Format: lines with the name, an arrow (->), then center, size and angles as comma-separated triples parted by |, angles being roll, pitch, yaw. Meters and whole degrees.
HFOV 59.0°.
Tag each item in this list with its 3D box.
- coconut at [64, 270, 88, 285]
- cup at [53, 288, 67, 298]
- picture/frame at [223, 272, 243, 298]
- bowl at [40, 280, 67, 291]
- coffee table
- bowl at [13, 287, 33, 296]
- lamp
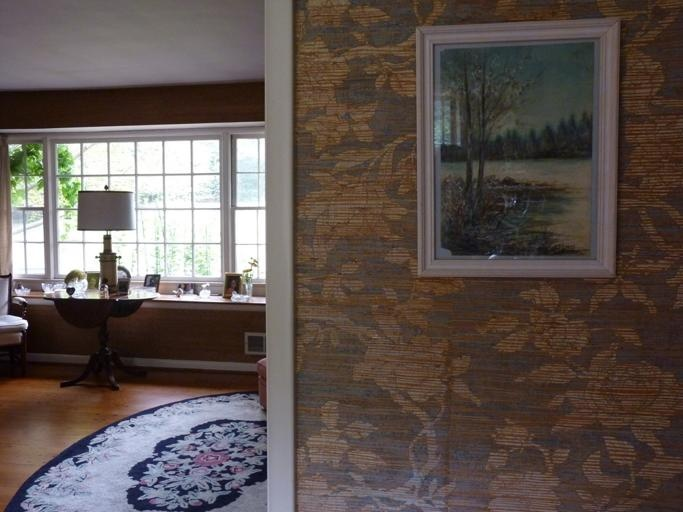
coconut -> -2.270, 0.178, 5.170 | 0.141, 0.061, 0.141 | 24, 47, 25
cup -> -2.308, 0.308, 4.948 | 0.076, 0.081, 0.133 | -3, 3, -26
picture/frame -> -0.978, 0.269, 5.434 | 0.274, 0.300, 0.033 | -1, -9, 2
bowl -> -2.589, 0.265, 5.440 | 0.150, 0.060, 0.150 | 0, 2, 0
coffee table -> -2.018, 0.693, 5.110 | 0.951, 0.645, 0.897 | 0, -3, -35
bowl -> -3.015, 0.329, 5.716 | 0.119, 0.046, 0.116 | 1, 0, 0
lamp -> -1.920, -0.127, 4.959 | 0.444, 0.888, 0.377 | -4, 8, -19
